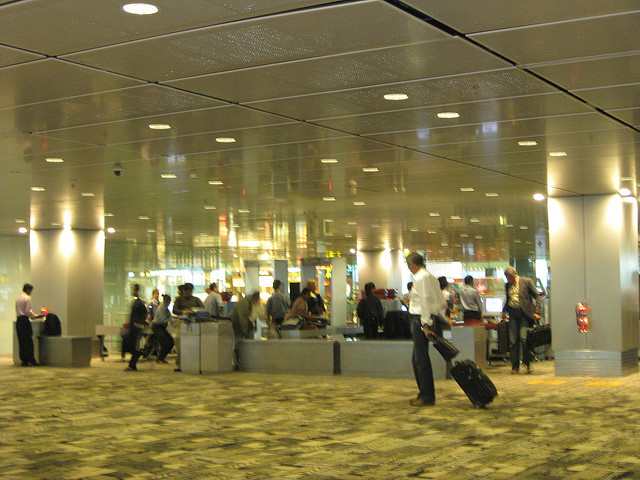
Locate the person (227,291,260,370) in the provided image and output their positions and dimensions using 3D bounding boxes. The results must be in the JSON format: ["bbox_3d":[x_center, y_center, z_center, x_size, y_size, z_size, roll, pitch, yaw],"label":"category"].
[{"bbox_3d":[-1.831,2.139,13.390,0.706,1.786,0.374,-2,-6,-10],"label":"person"}]

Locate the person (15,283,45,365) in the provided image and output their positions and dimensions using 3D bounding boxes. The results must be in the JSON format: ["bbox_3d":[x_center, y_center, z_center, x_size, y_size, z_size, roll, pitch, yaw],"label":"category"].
[{"bbox_3d":[-8.143,2.342,15.520,0.530,2.191,0.822,0,-7,-24],"label":"person"}]

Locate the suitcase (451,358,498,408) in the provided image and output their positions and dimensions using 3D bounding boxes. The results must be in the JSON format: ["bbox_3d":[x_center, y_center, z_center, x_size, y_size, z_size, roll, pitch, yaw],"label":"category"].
[{"bbox_3d":[2.251,2.063,8.253,0.419,0.679,0.499,-31,-15,13],"label":"suitcase"}]

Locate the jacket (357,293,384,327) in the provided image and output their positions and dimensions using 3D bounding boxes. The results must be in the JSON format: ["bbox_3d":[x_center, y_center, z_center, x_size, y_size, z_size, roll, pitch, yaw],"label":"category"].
[{"bbox_3d":[1.408,1.978,16.126,0.719,0.918,0.398,-3,-6,2],"label":"jacket"}]

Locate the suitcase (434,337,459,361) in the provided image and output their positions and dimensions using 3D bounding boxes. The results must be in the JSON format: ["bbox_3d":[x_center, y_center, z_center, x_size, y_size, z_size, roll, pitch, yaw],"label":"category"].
[{"bbox_3d":[1.792,1.563,8.061,0.305,0.300,0.185,-5,-6,21],"label":"suitcase"}]

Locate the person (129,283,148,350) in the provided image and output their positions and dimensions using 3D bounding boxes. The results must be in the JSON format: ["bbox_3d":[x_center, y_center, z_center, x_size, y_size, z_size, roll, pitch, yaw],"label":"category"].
[{"bbox_3d":[-4.719,1.955,14.502,0.428,1.625,0.786,-1,-6,-17],"label":"person"}]

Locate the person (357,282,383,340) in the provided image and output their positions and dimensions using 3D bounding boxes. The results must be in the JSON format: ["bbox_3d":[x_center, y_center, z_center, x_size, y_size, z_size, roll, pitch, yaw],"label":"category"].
[{"bbox_3d":[1.411,2.004,16.095,0.742,1.574,1.222,-3,-6,3],"label":"person"}]

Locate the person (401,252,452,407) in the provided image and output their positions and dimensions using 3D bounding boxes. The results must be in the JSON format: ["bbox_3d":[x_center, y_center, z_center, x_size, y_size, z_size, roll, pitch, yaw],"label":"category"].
[{"bbox_3d":[1.538,1.280,8.158,0.642,2.235,0.599,-4,-6,9],"label":"person"}]

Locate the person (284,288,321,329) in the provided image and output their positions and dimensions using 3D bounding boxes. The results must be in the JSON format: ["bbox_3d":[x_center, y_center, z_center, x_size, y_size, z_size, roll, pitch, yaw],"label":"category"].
[{"bbox_3d":[-0.371,1.808,14.393,1.036,1.045,0.890,-3,-21,20],"label":"person"}]

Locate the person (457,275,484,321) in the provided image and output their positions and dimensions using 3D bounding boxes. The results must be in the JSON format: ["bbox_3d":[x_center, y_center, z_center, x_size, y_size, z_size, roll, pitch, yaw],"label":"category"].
[{"bbox_3d":[3.794,1.475,14.236,0.538,1.142,0.920,-5,-6,14],"label":"person"}]

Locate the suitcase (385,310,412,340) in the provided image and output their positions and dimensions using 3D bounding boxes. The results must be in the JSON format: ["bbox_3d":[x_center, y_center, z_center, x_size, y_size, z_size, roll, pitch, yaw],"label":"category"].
[{"bbox_3d":[2.107,2.226,15.046,0.961,0.647,0.765,0,-5,-8],"label":"suitcase"}]

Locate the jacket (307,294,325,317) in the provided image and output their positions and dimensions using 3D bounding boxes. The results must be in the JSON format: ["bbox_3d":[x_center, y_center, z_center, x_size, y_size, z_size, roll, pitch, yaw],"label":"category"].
[{"bbox_3d":[-0.180,1.796,15.609,0.260,0.586,0.997,-4,-6,9],"label":"jacket"}]

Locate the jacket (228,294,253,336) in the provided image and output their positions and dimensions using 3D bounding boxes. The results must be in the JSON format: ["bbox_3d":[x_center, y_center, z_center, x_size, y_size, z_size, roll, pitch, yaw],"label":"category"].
[{"bbox_3d":[-1.906,1.787,13.438,0.555,0.964,0.358,-4,-6,15],"label":"jacket"}]

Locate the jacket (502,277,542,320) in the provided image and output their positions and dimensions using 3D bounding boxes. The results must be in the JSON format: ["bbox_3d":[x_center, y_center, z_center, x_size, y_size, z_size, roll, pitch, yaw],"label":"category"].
[{"bbox_3d":[4.494,1.291,12.618,0.581,0.854,0.995,-3,0,-40],"label":"jacket"}]
